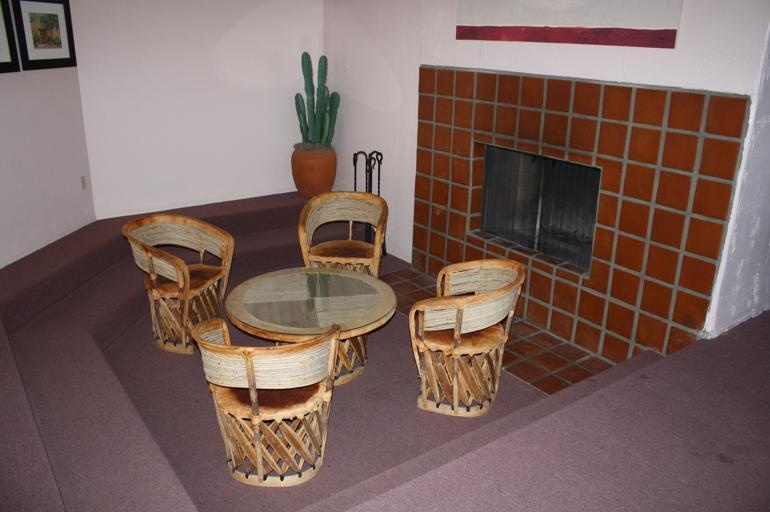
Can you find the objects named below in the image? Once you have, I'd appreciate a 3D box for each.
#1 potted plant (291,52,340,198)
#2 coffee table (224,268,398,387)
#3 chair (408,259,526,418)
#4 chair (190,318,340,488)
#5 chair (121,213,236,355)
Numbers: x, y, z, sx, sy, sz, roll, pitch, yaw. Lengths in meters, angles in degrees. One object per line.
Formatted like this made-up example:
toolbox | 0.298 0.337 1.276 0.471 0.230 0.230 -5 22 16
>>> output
potted plant | -0.867 -1.615 6.626 0.503 1.729 0.600 10 24 22
coffee table | -0.589 0.625 4.404 1.369 0.640 1.369 1 19 -1
chair | 0.653 0.694 4.167 0.741 1.015 0.883 3 10 22
chair | -0.809 1.009 3.686 0.876 1.021 0.894 2 8 12
chair | -1.950 0.247 4.902 0.790 1.067 0.876 10 19 12
